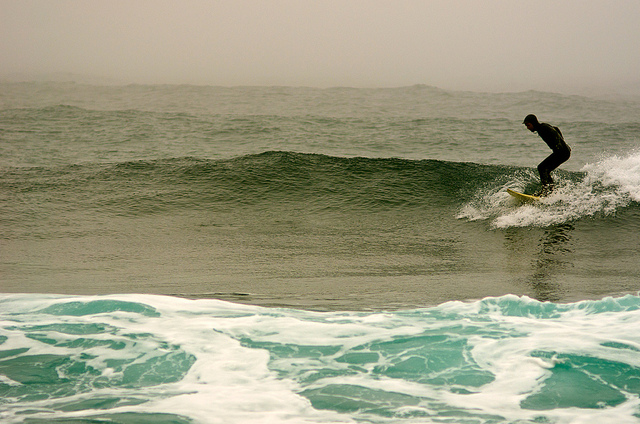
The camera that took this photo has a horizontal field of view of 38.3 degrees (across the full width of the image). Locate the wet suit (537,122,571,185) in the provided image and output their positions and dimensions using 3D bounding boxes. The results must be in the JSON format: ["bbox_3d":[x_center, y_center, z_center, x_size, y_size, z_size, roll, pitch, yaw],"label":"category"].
[{"bbox_3d":[6.493,-1.657,25.623,0.851,1.694,0.681,0,1,9],"label":"wet suit"}]

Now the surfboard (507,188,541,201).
[{"bbox_3d":[5.829,-0.509,26.491,0.336,0.337,1.110,0,0,-29],"label":"surfboard"}]
